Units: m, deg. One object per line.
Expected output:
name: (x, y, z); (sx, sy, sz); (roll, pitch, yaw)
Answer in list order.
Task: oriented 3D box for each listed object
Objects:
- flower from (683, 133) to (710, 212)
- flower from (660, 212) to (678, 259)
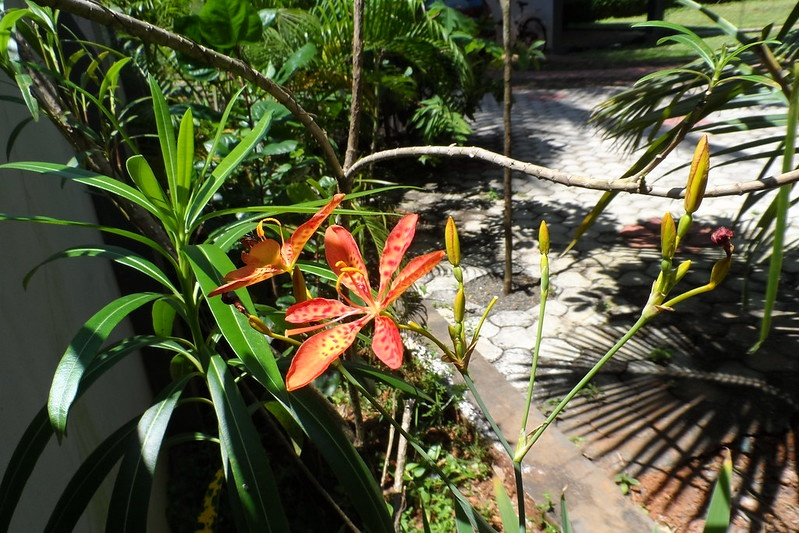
flower: (0.677, -0.209, 1.279); (0.043, 0.183, 0.145); (4, 8, 27)
flower: (0.615, -0.072, 1.283); (0.033, 0.103, 0.096); (3, 8, 25)
